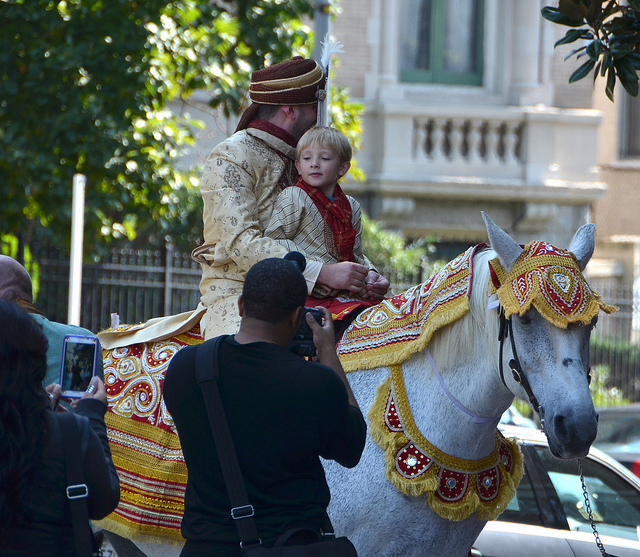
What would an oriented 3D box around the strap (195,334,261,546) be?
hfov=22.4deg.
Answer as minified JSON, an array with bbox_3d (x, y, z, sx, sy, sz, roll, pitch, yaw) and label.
[{"bbox_3d":[-0.640,1.188,11.238,0.156,1.399,0.205,-16,-5,19],"label":"strap"}]

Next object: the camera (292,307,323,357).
[{"bbox_3d":[-0.092,0.393,11.701,0.216,0.357,0.101,0,2,-14],"label":"camera"}]
